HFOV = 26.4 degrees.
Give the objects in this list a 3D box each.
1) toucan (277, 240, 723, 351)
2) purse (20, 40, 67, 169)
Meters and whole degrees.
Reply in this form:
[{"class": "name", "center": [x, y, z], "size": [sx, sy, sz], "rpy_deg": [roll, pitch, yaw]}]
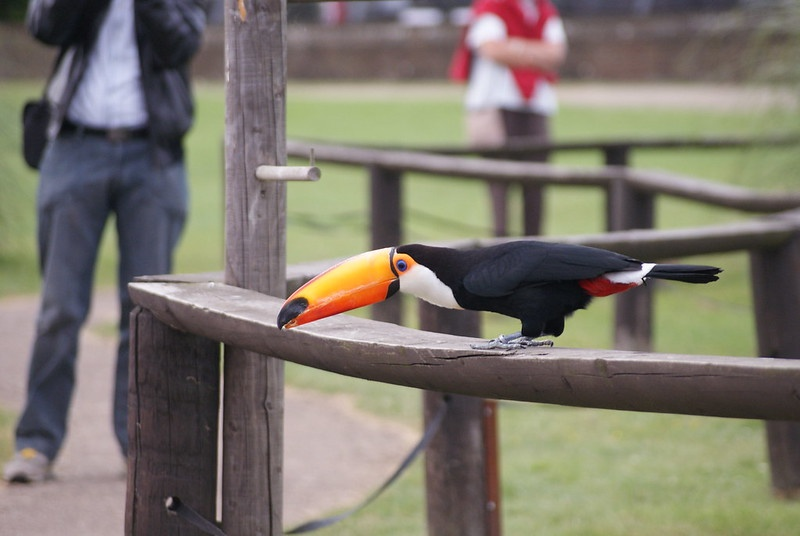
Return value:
[{"class": "toucan", "center": [0.511, 0.156, 8.697], "size": [1.683, 0.428, 0.405], "rpy_deg": [-7, 35, 7]}, {"class": "purse", "center": [-1.888, -0.844, 8.952], "size": [0.235, 0.644, 0.072], "rpy_deg": [17, 19, -14]}]
